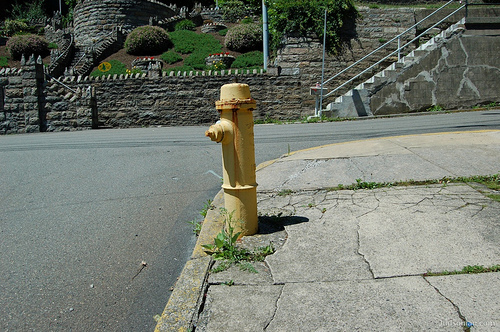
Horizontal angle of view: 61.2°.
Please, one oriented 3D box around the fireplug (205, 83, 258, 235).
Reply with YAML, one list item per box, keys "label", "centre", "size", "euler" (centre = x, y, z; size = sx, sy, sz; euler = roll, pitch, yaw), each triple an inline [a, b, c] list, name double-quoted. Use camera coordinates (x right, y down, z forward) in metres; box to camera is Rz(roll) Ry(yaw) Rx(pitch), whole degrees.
- label: "fireplug"
  centre: [-0.215, -0.060, 6.318]
  size: [0.641, 2.219, 0.649]
  euler: [-2, 16, 1]
